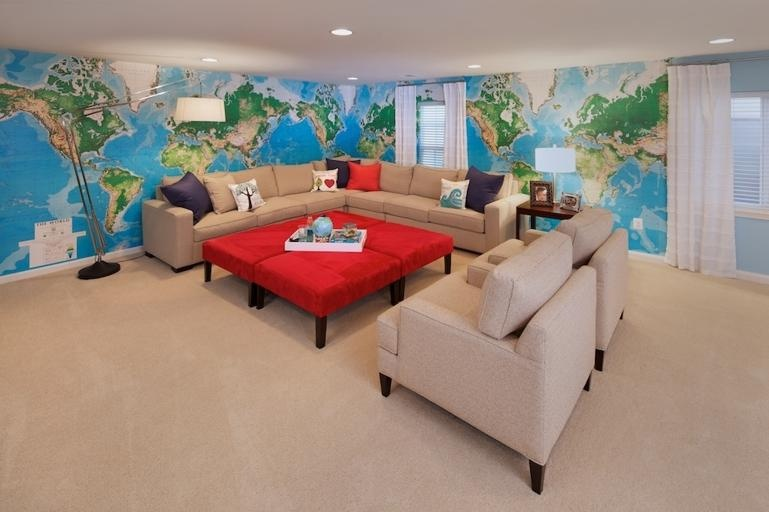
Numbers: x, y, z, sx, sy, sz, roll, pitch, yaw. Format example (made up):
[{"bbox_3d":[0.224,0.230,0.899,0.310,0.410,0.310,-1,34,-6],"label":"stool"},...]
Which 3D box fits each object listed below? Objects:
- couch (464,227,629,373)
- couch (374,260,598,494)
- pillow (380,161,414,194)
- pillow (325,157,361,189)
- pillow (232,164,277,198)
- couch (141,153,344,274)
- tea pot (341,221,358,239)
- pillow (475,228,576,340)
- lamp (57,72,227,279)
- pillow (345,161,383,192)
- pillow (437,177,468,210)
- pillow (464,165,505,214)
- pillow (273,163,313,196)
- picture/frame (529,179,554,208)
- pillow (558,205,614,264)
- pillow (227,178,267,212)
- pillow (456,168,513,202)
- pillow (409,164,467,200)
[{"bbox_3d":[1.554,0.338,4.756,1.392,1.295,1.396,-17,24,-37],"label":"couch"},{"bbox_3d":[0.837,0.854,4.291,1.672,1.304,1.718,16,25,34],"label":"couch"},{"bbox_3d":[0.189,-1.288,8.021,0.245,0.473,0.679,-24,32,-38],"label":"pillow"},{"bbox_3d":[-0.697,-1.376,8.116,0.609,0.601,0.215,-2,1,-10],"label":"pillow"},{"bbox_3d":[-1.921,-1.088,7.142,0.196,0.373,0.554,-3,14,42],"label":"pillow"},{"bbox_3d":[-1.859,-0.738,7.291,1.048,1.184,3.288,10,20,39],"label":"couch"},{"bbox_3d":[-0.404,-0.298,5.634,0.180,0.142,0.180,-1,9,0],"label":"tea pot"},{"bbox_3d":[1.204,0.165,3.965,0.453,0.515,1.305,20,30,35],"label":"pillow"},{"bbox_3d":[-3.140,-1.087,6.282,1.958,2.314,0.956,-14,22,-32],"label":"lamp"},{"bbox_3d":[-0.340,-1.307,8.067,0.552,0.516,0.190,0,-4,7],"label":"pillow"},{"bbox_3d":[1.018,-0.903,7.002,0.485,0.467,0.179,6,-11,25],"label":"pillow"},{"bbox_3d":[1.394,-0.965,6.966,0.301,0.515,0.575,-21,35,-40],"label":"pillow"},{"bbox_3d":[-1.472,-1.227,7.709,0.147,0.487,0.668,-3,10,45],"label":"pillow"},{"bbox_3d":[2.138,-0.840,6.542,0.409,0.474,0.055,4,11,26],"label":"picture/frame"},{"bbox_3d":[1.824,-0.175,4.328,0.583,0.355,0.217,-21,38,-36],"label":"pillow"},{"bbox_3d":[-1.910,-0.829,6.714,0.132,0.412,0.449,-19,3,38],"label":"pillow"},{"bbox_3d":[1.540,-1.089,7.125,0.614,0.285,0.621,8,20,26],"label":"pillow"},{"bbox_3d":[0.789,-1.141,7.617,0.816,0.504,0.296,14,8,33],"label":"pillow"}]
